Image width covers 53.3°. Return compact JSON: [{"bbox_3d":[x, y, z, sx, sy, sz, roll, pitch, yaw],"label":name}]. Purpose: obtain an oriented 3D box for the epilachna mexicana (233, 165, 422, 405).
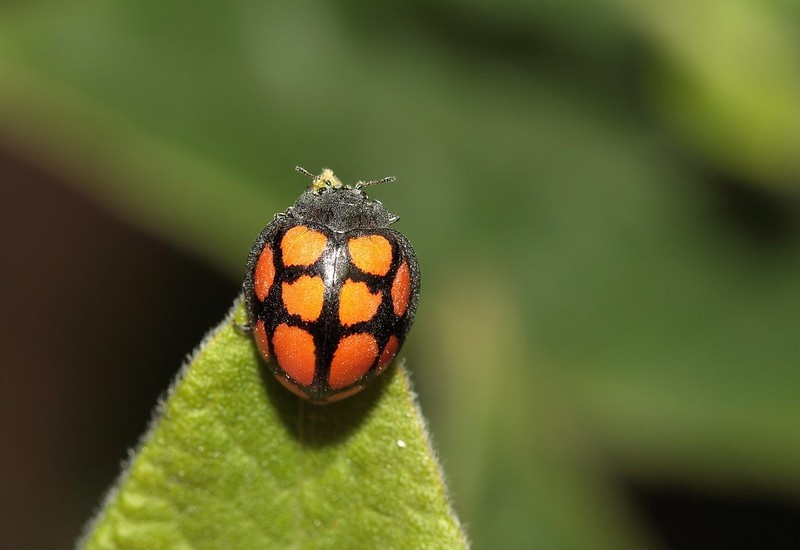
[{"bbox_3d":[-0.261,0.126,3.273,0.760,0.388,0.872,8,69,-12],"label":"epilachna mexicana"}]
